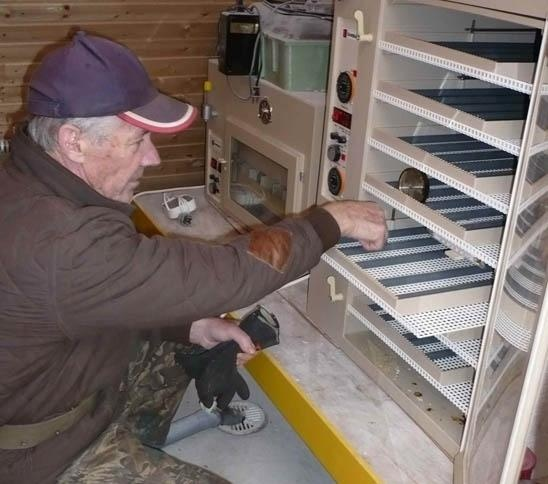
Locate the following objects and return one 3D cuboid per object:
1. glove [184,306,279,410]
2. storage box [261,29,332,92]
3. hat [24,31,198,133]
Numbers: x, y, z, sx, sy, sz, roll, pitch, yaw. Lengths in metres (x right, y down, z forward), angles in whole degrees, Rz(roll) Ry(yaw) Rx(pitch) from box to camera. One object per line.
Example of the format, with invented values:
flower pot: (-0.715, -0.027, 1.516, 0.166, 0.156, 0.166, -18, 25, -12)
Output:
glove: (-0.132, 0.372, 1.539, 0.314, 0.331, 0.124, -15, 20, -8)
storage box: (0.074, -0.726, 1.953, 0.238, 0.202, 0.402, -5, 26, -18)
hat: (-0.349, -0.354, 1.016, 0.362, 0.176, 0.252, 2, 23, -5)
